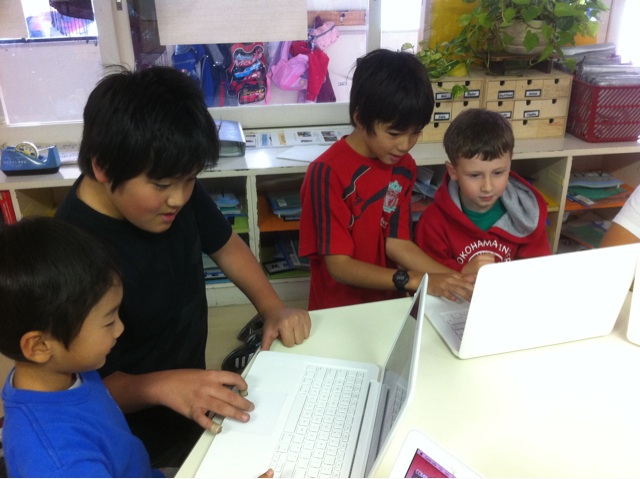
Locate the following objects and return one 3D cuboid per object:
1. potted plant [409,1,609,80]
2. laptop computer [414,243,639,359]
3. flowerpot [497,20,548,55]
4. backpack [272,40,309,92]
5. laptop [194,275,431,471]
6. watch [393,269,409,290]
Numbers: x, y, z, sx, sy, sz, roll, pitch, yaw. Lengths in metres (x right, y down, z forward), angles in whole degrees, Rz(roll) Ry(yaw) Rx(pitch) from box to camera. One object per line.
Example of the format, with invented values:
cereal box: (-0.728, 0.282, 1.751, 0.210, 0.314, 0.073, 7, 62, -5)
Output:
potted plant: (1.058, -1.135, 2.660, 1.030, 0.360, 0.466, -1, 26, 2)
laptop computer: (0.556, 0.149, 1.278, 0.460, 0.282, 0.322, -7, 30, -13)
flowerpot: (1.122, -1.118, 2.572, 0.177, 0.128, 0.179, 13, 28, 26)
backpack: (-0.188, -1.022, 2.885, 0.220, 0.406, 0.347, -5, 21, -18)
laptop: (-0.003, 0.405, 1.106, 0.404, 0.345, 0.491, 12, 37, 13)
watch: (0.272, 0.129, 1.557, 0.041, 0.062, 0.063, 13, 51, 15)
